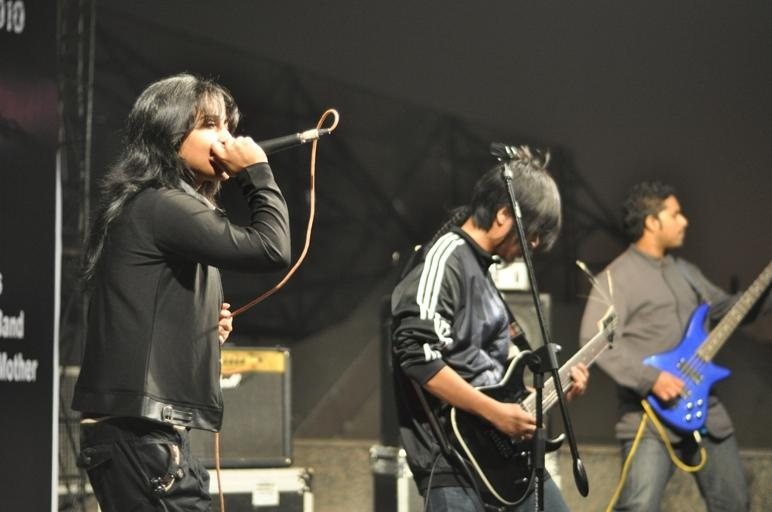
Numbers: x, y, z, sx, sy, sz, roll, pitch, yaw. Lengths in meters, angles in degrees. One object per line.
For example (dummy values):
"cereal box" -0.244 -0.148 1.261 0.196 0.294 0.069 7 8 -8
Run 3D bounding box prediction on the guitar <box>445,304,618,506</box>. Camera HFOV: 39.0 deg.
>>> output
"guitar" 0.695 0.747 5.334 0.165 0.473 1.192 8 49 46

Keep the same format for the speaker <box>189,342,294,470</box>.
"speaker" -0.709 0.793 5.977 0.670 0.949 0.547 0 -8 -8
